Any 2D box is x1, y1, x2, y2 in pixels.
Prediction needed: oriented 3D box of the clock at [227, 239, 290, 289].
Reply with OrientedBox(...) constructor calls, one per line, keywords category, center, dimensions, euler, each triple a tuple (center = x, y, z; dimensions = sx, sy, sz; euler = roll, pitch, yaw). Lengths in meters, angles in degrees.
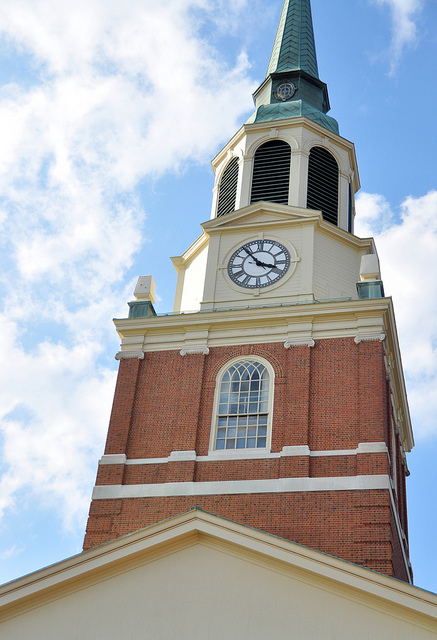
OrientedBox(category="clock", center=(1.591, -2.076, 27.394), dimensions=(2.559, 2.285, 0.279), euler=(-1, -39, 13))
